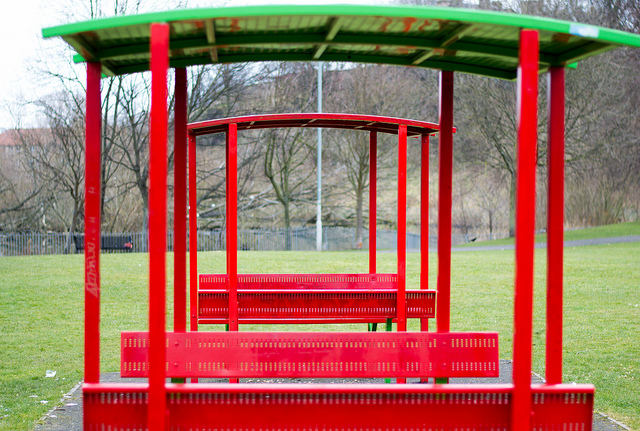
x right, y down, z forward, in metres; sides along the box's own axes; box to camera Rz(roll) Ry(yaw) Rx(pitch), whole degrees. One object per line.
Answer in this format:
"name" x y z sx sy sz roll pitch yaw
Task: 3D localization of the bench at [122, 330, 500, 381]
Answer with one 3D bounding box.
"bench" -0.067 2.490 15.439 5.868 0.945 0.714 -2 -6 -1
